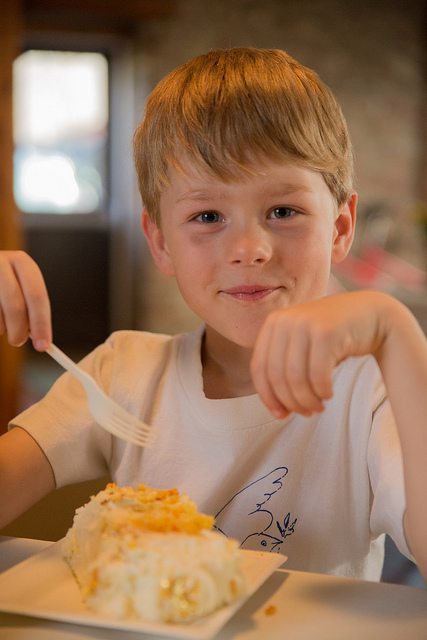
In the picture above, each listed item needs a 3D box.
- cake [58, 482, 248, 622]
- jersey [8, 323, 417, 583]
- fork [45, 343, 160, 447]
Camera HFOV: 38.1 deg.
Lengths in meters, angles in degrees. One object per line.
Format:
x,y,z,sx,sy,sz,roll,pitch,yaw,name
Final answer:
-0.057,0.215,0.610,0.150,0.065,0.227,3,0,-15,cake
0.058,0.224,0.981,0.589,0.411,0.258,1,9,39,jersey
-0.170,0.122,0.978,0.230,0.027,0.031,40,40,4,fork
